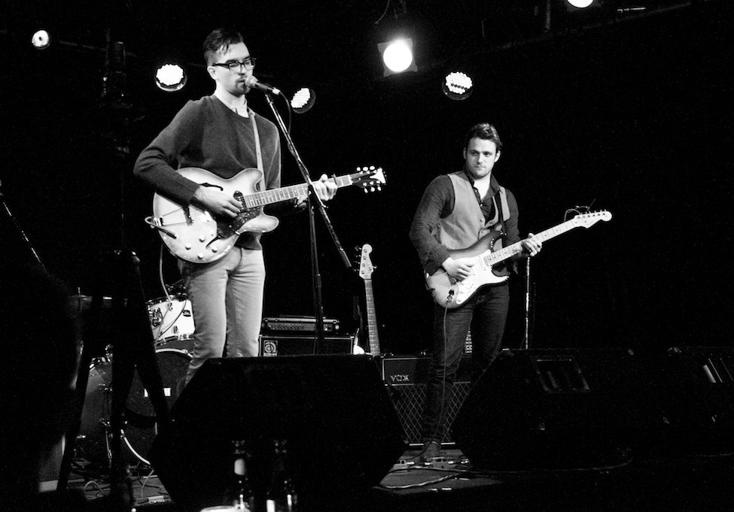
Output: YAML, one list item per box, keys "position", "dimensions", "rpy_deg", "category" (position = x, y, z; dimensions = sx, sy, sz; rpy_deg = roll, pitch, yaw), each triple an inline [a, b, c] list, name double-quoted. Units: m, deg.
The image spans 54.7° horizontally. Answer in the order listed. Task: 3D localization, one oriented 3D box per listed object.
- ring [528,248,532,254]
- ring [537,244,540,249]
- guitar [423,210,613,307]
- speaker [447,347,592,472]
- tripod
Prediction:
- position: [1.115, -0.032, 4.835]
  dimensions: [0.027, 0.026, 0.007]
  rpy_deg: [-6, -8, 28]
  category: "ring"
- position: [1.174, -0.070, 4.846]
  dimensions: [0.015, 0.015, 0.015]
  rpy_deg: [-4, -53, -6]
  category: "ring"
- position: [1.035, -0.024, 4.911]
  dimensions: [1.303, 0.824, 0.291]
  rpy_deg: [3, -27, -16]
  category: "guitar"
- position: [0.776, 0.804, 3.961]
  dimensions: [0.731, 0.667, 0.636]
  rpy_deg: [3, -10, -20]
  category: "speaker"
- position: [-1.095, 0.230, 3.264]
  dimensions: [0.424, 1.768, 0.782]
  rpy_deg: [7, -28, -22]
  category: "tripod"
